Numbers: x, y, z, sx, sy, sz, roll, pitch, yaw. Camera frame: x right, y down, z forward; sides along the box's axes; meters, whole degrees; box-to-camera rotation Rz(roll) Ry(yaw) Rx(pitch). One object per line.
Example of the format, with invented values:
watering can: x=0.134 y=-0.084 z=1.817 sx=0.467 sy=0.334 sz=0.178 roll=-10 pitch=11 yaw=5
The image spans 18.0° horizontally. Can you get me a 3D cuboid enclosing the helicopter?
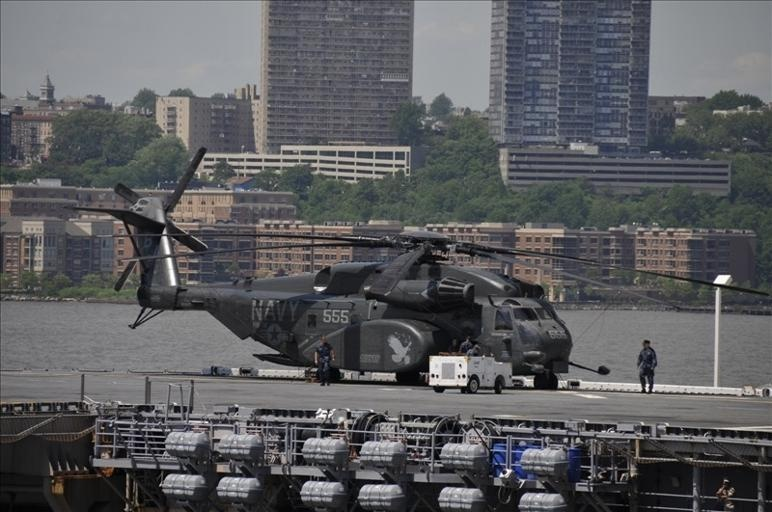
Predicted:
helicopter: x=-3.177 y=5.582 z=215.670 sx=38.157 sy=17.334 sz=9.877 roll=-1 pitch=0 yaw=17
